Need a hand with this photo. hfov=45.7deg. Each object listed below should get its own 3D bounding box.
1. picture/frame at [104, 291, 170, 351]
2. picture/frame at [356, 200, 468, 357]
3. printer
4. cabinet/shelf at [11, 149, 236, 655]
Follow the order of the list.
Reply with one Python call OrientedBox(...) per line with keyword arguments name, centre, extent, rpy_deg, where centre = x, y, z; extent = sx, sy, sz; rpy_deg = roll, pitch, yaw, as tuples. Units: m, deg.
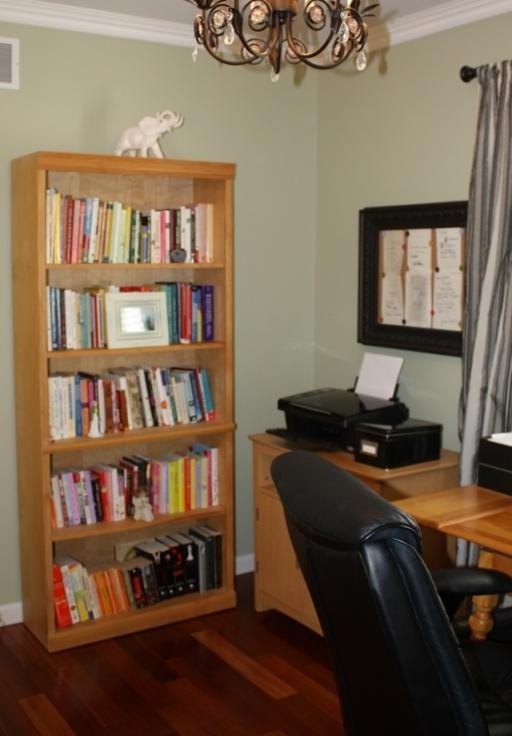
OrientedBox(name="picture/frame", centre=(-0.541, -0.208, 2.695), extent=(0.265, 0.237, 0.094), rpy_deg=(-3, 0, -35))
OrientedBox(name="picture/frame", centre=(0.745, -0.426, 2.843), extent=(0.054, 0.621, 0.755), rpy_deg=(-4, 8, -26))
OrientedBox(name="printer", centre=(0.429, 0.161, 2.696), extent=(0.356, 0.159, 0.306), rpy_deg=(-11, 13, -38))
OrientedBox(name="cabinet/shelf", centre=(-0.580, 0.132, 2.842), extent=(0.993, 2.136, 0.565), rpy_deg=(-1, 2, -33))
